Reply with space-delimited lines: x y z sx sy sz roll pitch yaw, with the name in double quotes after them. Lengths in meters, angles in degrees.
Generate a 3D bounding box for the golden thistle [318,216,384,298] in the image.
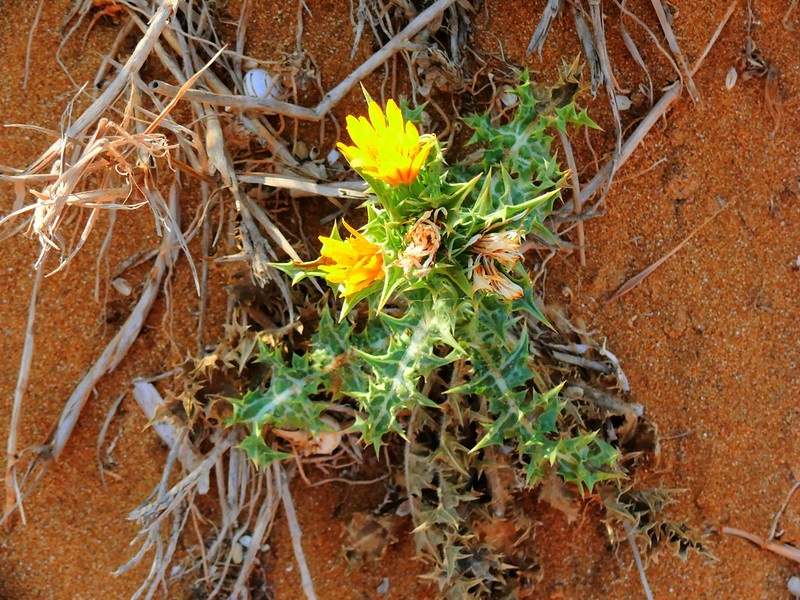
-0.180 -0.128 2.608 0.215 0.124 0.228 26 115 45 "golden thistle"

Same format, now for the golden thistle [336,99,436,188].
-0.036 -0.490 2.545 0.250 0.173 0.287 0 73 13 "golden thistle"
